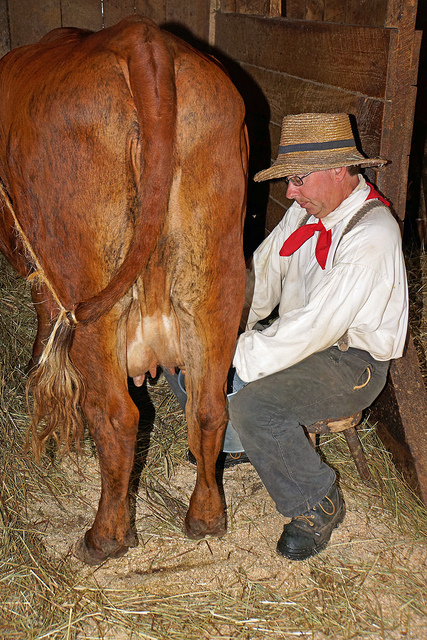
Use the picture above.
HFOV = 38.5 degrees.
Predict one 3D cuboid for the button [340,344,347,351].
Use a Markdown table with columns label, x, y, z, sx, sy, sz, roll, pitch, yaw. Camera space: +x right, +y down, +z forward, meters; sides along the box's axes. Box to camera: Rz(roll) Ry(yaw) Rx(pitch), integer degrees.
| label | x | y | z | sx | sy | sz | roll | pitch | yaw |
| --- | --- | --- | --- | --- | --- | --- | --- | --- | --- |
| button | 0.486 | 0.104 | 2.282 | 0.025 | 0.028 | 0.012 | 8 | 34 | 4 |

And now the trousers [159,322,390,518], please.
| label | x | y | z | sx | sy | sz | roll | pitch | yaw |
| --- | --- | --- | --- | --- | --- | --- | --- | --- | --- |
| trousers | 0.311 | 0.344 | 2.501 | 0.668 | 0.593 | 0.734 | -15 | 36 | -40 |

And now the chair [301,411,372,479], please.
| label | x | y | z | sx | sy | sz | roll | pitch | yaw |
| --- | --- | --- | --- | --- | --- | --- | --- | --- | --- |
| chair | 0.533 | 0.510 | 2.626 | 0.333 | 0.283 | 0.297 | -9 | 4 | 10 |

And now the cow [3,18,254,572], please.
| label | x | y | z | sx | sy | sz | roll | pitch | yaw |
| --- | --- | --- | --- | --- | --- | --- | --- | --- | --- |
| cow | -0.293 | -0.023 | 2.136 | 0.803 | 1.829 | 0.829 | 1 | 34 | -6 |

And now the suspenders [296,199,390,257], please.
| label | x | y | z | sx | sy | sz | roll | pitch | yaw |
| --- | --- | --- | --- | --- | --- | --- | --- | --- | --- |
| suspenders | 0.556 | -0.354 | 2.297 | 0.239 | 0.170 | 0.084 | -23 | 43 | -38 |
